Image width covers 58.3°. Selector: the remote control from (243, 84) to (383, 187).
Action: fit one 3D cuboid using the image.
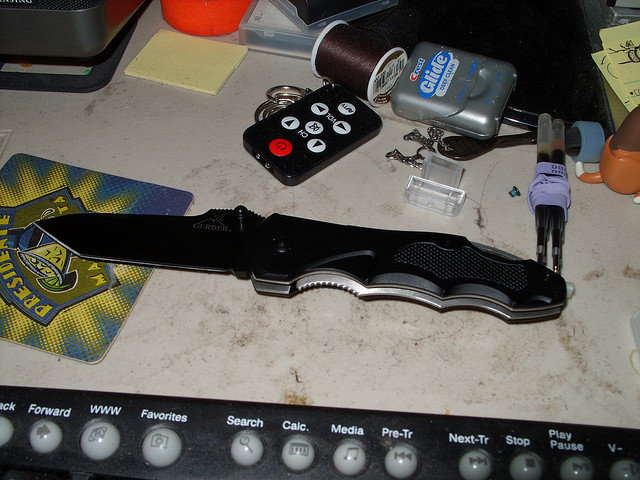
[{"bbox_3d":[-0.015,-0.163,0.863,0.198,0.046,0.124,-32,64,-21],"label":"remote control"}]
